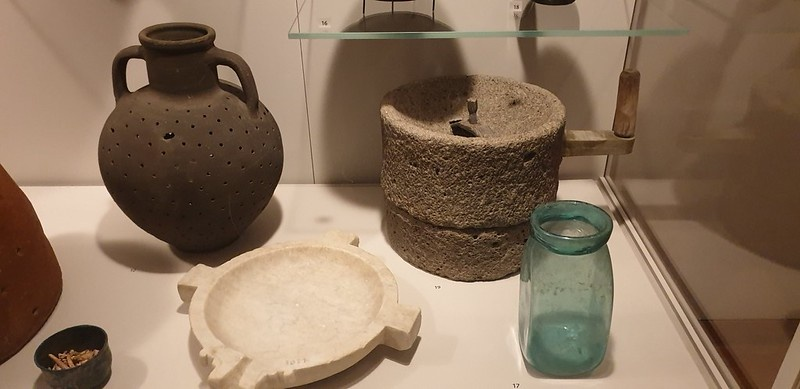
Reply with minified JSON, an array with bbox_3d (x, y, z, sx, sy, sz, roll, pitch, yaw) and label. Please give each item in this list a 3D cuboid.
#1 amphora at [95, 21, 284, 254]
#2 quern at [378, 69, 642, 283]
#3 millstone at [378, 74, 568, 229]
[{"bbox_3d":[-0.894,-0.233,2.499,0.788,0.852,0.727,11,31,14],"label":"amphora"},{"bbox_3d":[0.368,-0.086,2.730,1.107,0.890,1.041,6,30,8],"label":"quern"},{"bbox_3d":[0.295,-0.202,2.400,0.739,0.346,0.654,0,46,3],"label":"millstone"}]
